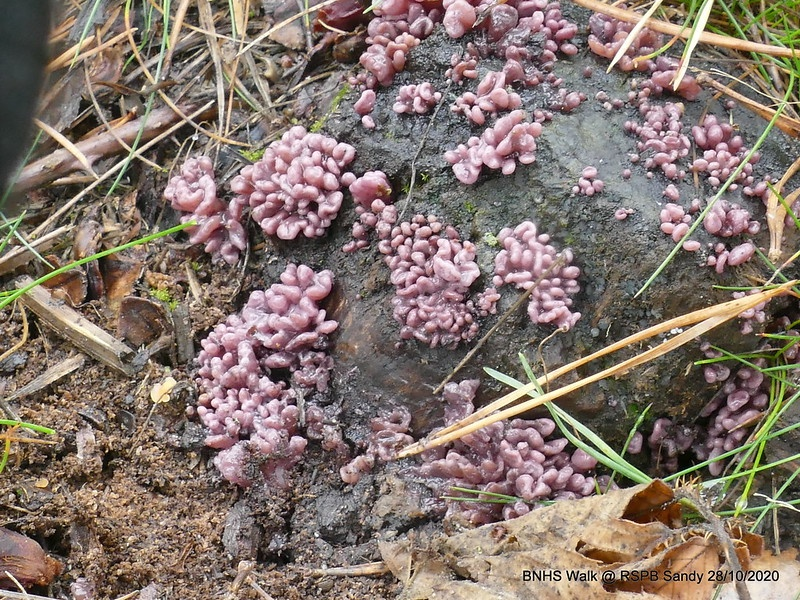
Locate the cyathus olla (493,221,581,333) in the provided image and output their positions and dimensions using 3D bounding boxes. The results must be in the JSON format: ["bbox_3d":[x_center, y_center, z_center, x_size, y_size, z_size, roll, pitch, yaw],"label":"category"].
[{"bbox_3d":[0.868,-0.143,5.204,0.477,0.213,0.703,-36,87,6],"label":"cyathus olla"}]

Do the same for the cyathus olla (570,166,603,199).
[{"bbox_3d":[1.182,-0.717,5.088,0.168,0.092,0.186,30,70,10],"label":"cyathus olla"}]
